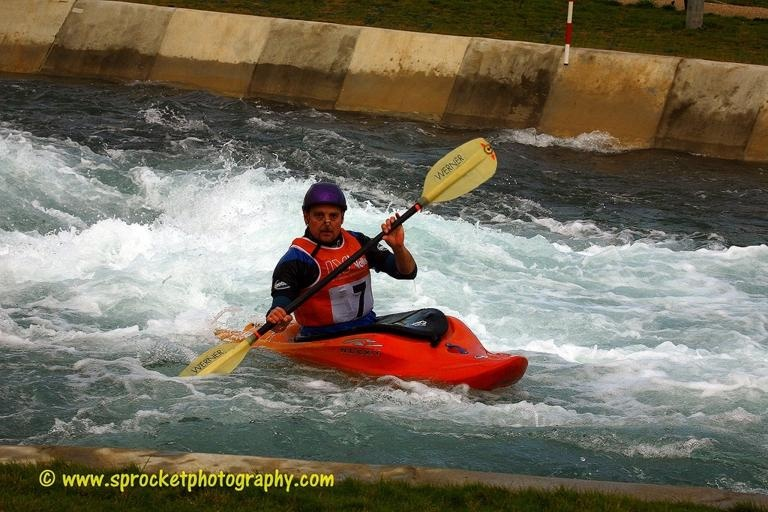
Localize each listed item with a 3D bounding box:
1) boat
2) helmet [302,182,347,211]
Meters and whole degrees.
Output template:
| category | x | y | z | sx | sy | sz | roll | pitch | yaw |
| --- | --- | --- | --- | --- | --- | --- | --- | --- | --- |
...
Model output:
| category | x | y | z | sx | sy | sz | roll | pitch | yaw |
| --- | --- | --- | --- | --- | --- | --- | --- | --- | --- |
| boat | -0.236 | 0.909 | 7.894 | 3.417 | 0.417 | 0.840 | 5 | 6 | 11 |
| helmet | -0.586 | -0.580 | 7.342 | 0.439 | 0.205 | 0.360 | -1 | 15 | -6 |
